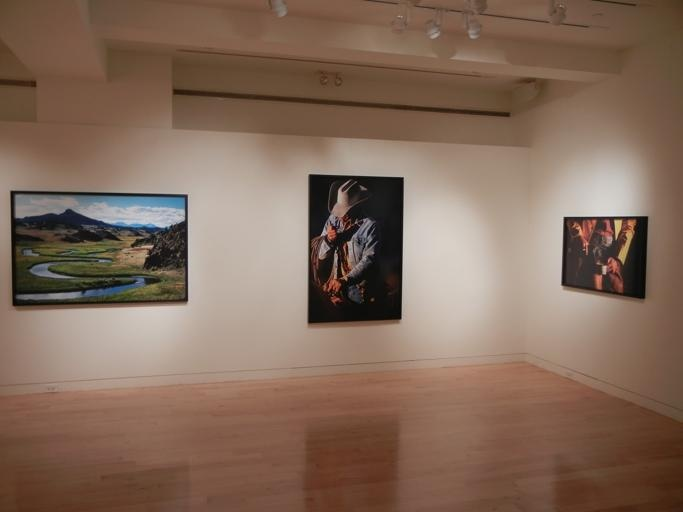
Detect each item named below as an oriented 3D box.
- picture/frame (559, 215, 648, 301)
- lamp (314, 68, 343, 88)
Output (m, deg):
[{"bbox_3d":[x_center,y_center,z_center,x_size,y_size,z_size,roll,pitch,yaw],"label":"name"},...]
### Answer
[{"bbox_3d":[3.300,0.014,6.405,0.038,0.942,1.069,1,-1,-20],"label":"picture/frame"},{"bbox_3d":[-0.151,-2.549,7.314,0.312,0.173,0.186,-5,6,-43],"label":"lamp"}]
